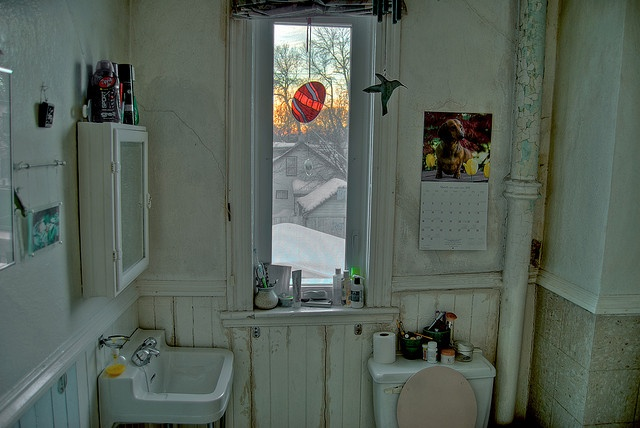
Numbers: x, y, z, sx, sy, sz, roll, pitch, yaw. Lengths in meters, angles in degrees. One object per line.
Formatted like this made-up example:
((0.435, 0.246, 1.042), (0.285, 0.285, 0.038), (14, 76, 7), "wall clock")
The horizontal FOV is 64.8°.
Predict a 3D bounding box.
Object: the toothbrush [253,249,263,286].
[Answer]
((-0.342, 0.288, 2.786), (0.056, 0.190, 0.146), (-1, 9, -8), "toothbrush")

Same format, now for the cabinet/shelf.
((-0.901, -0.034, 2.288), (0.171, 0.745, 0.413), (3, 9, 17), "cabinet/shelf")

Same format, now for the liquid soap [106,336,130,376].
((-0.960, 0.640, 2.354), (0.091, 0.195, 0.157), (-2, 9, -17), "liquid soap")

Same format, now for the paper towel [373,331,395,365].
((0.346, 0.713, 2.716), (0.135, 0.153, 0.139), (1, 4, 12), "paper towel")

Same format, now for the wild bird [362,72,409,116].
((0.328, -0.631, 2.663), (0.174, 0.214, 0.044), (2, 9, 11), "wild bird")

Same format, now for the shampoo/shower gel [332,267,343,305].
((0.096, 0.402, 2.794), (0.053, 0.201, 0.054), (2, 9, 7), "shampoo/shower gel")

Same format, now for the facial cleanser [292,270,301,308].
((-0.126, 0.403, 2.753), (0.048, 0.197, 0.040), (-2, 9, -18), "facial cleanser")

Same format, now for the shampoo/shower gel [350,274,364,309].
((0.203, 0.422, 2.780), (0.077, 0.171, 0.082), (1, 9, 5), "shampoo/shower gel")
